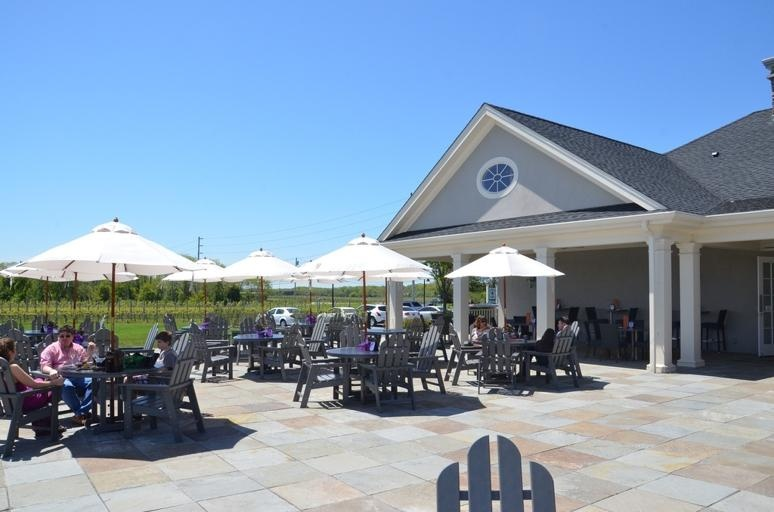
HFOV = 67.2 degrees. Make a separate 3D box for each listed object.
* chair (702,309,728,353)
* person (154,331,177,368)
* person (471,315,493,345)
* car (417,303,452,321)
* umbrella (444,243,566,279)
[{"bbox_3d":[12.361,2.861,22.019,0.628,1.578,1.103,1,-8,-18],"label":"chair"},{"bbox_3d":[-4.638,1.998,12.214,0.427,0.767,1.976,2,-8,-21],"label":"person"},{"bbox_3d":[2.924,2.202,16.890,0.621,0.756,0.831,1,-9,-3],"label":"person"},{"bbox_3d":[2.927,3.324,33.812,2.171,0.662,0.986,2,-3,10],"label":"car"},{"bbox_3d":[3.383,0.119,16.765,2.389,1.102,2.147,5,-10,-39],"label":"umbrella"}]
